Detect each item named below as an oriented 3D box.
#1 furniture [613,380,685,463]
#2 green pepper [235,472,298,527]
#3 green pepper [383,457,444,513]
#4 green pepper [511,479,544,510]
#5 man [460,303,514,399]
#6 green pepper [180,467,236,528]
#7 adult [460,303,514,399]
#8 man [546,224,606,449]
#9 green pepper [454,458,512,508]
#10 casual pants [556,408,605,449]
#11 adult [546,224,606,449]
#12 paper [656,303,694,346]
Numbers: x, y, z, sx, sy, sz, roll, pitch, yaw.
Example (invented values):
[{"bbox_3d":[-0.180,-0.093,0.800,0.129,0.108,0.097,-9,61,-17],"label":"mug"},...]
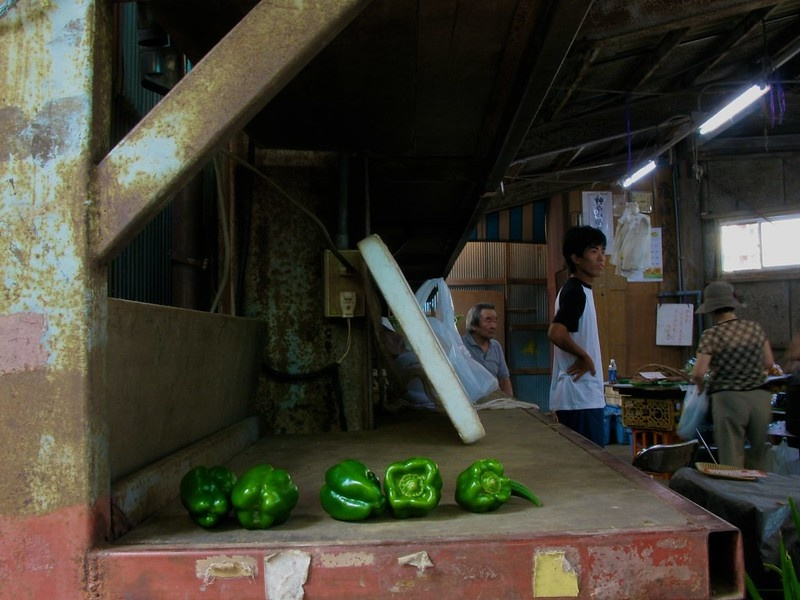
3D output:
[{"bbox_3d":[2.163,0.983,6.692,0.584,0.674,0.642,-5,-5,41],"label":"furniture"},{"bbox_3d":[-0.377,0.519,2.194,0.144,0.141,0.158,-15,-5,-16],"label":"green pepper"},{"bbox_3d":[0.032,0.536,2.233,0.150,0.157,0.099,-1,-3,-3],"label":"green pepper"},{"bbox_3d":[0.368,0.560,2.288,0.091,0.073,0.098,-2,-4,10],"label":"green pepper"},{"bbox_3d":[0.581,0.315,5.260,0.310,0.633,0.869,-1,-4,7],"label":"man"},{"bbox_3d":[-0.513,0.543,2.203,0.127,0.164,0.170,-4,-43,-4],"label":"green pepper"},{"bbox_3d":[0.583,0.316,5.274,0.310,0.633,0.897,-1,-4,7],"label":"adult"},{"bbox_3d":[0.977,0.196,4.334,0.313,1.207,0.390,-1,-3,12],"label":"man"},{"bbox_3d":[0.240,0.533,2.279,0.122,0.148,0.117,9,0,40],"label":"green pepper"},{"bbox_3d":[1.002,0.647,4.402,0.158,0.193,0.260,-6,17,-35],"label":"casual pants"},{"bbox_3d":[0.977,0.196,4.334,0.313,1.207,0.390,-1,-3,12],"label":"adult"},{"bbox_3d":[3.306,0.304,9.444,0.438,0.611,0.059,2,0,33],"label":"paper"}]
